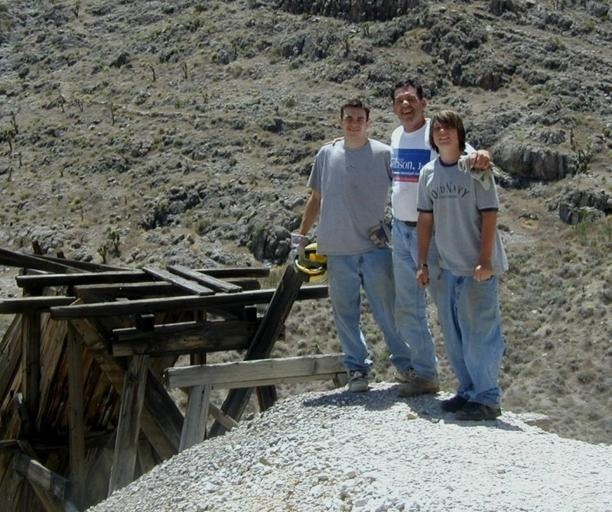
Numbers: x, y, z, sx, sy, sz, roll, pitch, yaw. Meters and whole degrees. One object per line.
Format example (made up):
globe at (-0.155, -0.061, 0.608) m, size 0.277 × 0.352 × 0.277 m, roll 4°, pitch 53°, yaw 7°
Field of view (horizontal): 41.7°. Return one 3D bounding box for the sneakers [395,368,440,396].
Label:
sneakers at (1.224, 1.347, 8.619) m, size 0.538 × 0.309 × 0.193 m, roll 1°, pitch 10°, yaw 0°

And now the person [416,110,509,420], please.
person at (1.620, 0.064, 8.263) m, size 1.017 × 3.057 × 0.679 m, roll 6°, pitch 11°, yaw 27°

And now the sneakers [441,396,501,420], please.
sneakers at (1.707, 1.552, 8.187) m, size 0.613 × 0.175 × 0.281 m, roll 4°, pitch 11°, yaw 12°
